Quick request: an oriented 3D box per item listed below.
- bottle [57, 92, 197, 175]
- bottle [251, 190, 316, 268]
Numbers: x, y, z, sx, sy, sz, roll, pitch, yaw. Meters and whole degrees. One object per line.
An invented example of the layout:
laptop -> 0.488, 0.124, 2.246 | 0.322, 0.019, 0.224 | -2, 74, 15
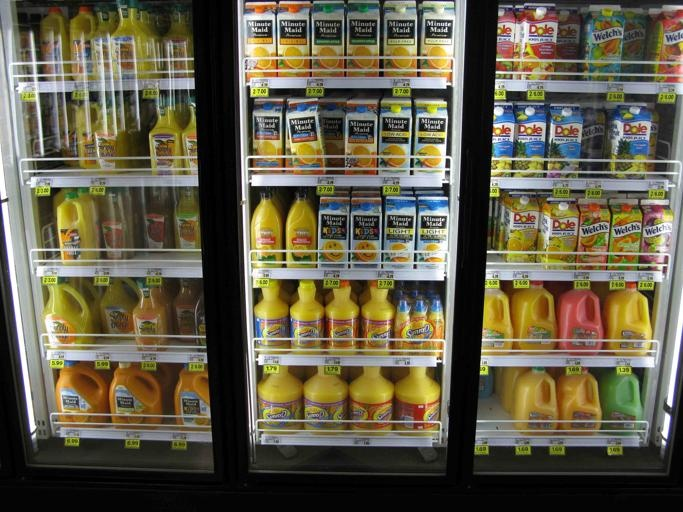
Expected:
bottle -> -1.029, -0.599, 2.849 | 0.439, 0.353, 0.146 | 0, 12, -2
bottle -> -0.284, -0.117, 2.853 | 0.402, 0.487, 0.187 | 0, 13, -3
